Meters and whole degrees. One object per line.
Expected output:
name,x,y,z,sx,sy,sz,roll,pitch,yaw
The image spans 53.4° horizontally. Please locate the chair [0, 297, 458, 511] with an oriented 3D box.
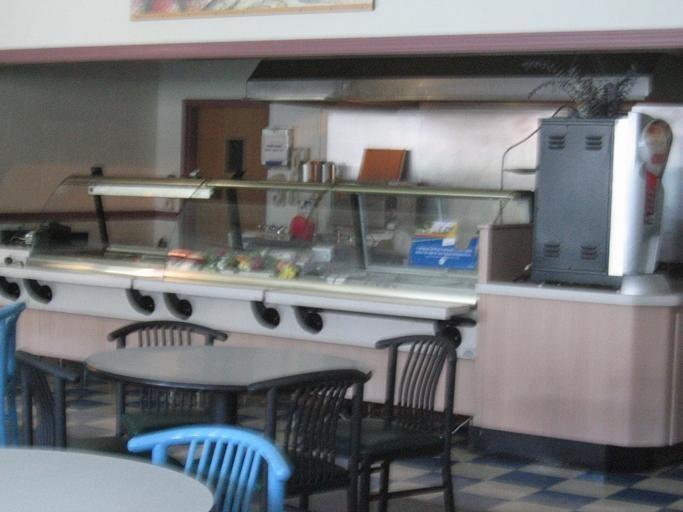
chair,-0.353,0.445,3.045,1.220,0.595,1.229,6,6,38
